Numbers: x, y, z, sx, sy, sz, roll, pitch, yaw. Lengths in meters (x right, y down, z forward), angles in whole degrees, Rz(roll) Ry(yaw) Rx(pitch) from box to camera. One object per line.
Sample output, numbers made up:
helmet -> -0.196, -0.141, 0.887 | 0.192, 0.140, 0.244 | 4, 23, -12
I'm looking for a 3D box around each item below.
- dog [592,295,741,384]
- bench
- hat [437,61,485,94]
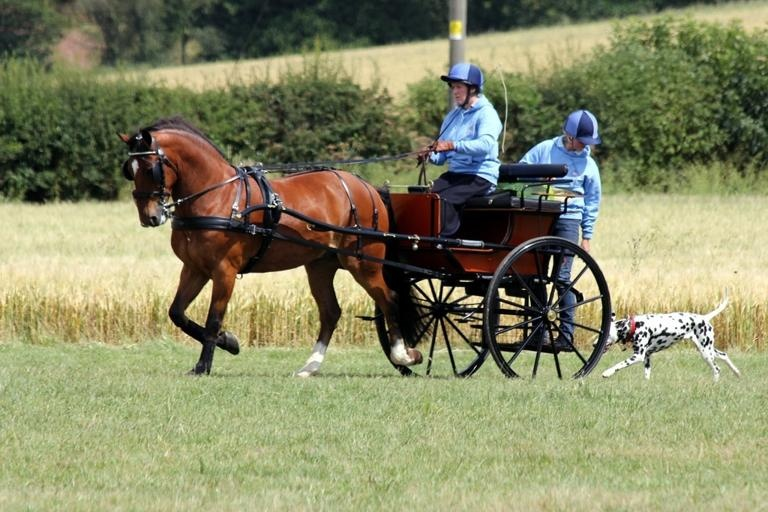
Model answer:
dog -> 4.578, 1.403, 25.343 | 2.539, 1.268, 0.546 | -4, 3, -16
bench -> 1.682, -0.595, 25.450 | 1.001, 1.138, 1.546 | 1, 1, -1
hat -> 1.213, -2.804, 24.820 | 0.605, 0.296, 0.418 | 13, -4, -17
